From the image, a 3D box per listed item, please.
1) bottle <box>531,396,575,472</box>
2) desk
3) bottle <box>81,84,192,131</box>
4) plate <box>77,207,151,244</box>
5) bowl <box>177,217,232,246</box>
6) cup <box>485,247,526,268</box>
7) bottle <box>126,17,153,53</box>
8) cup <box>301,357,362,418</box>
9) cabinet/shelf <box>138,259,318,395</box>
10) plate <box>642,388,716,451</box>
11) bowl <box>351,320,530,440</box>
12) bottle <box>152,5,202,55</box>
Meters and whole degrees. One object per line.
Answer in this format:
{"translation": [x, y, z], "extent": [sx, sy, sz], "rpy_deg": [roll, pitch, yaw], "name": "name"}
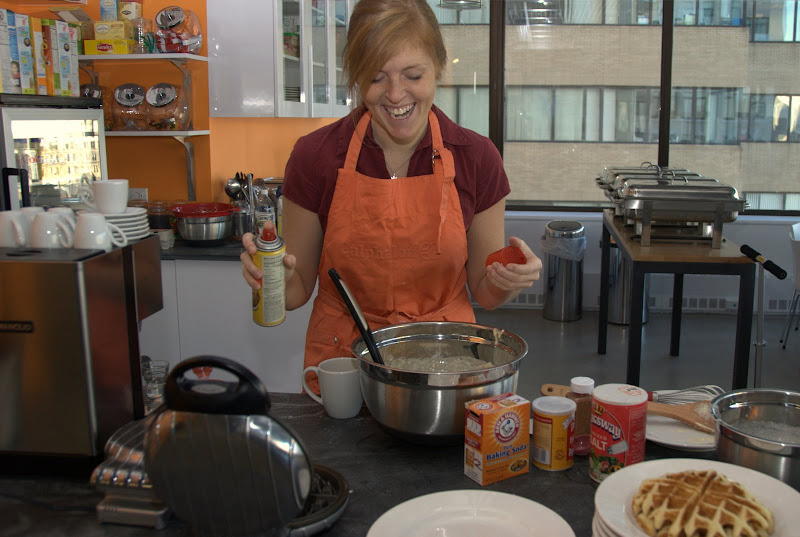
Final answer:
{"translation": [0.349, 0.369, 1.374], "extent": [0.084, 0.150, 0.098], "rpy_deg": [7, 18, 33], "name": "bottle"}
{"translation": [1.760, 0.330, 4.086], "extent": [0.571, 0.857, 1.466], "rpy_deg": [3, 6, 14], "name": "desk"}
{"translation": [-1.542, -0.977, 3.609], "extent": [0.536, 0.207, 0.289], "rpy_deg": [1, 19, -5], "name": "bottle"}
{"translation": [-0.832, -0.133, 1.851], "extent": [0.201, 0.081, 0.196], "rpy_deg": [0, 3, -1], "name": "plate"}
{"translation": [-1.079, -0.221, 3.358], "extent": [0.201, 0.095, 0.186], "rpy_deg": [0, 6, 0], "name": "bowl"}
{"translation": [0.277, -0.030, 1.599], "extent": [0.097, 0.054, 0.049], "rpy_deg": [10, 19, 39], "name": "cup"}
{"translation": [-1.458, -1.309, 3.431], "extent": [0.147, 0.191, 0.111], "rpy_deg": [-6, 15, -13], "name": "bottle"}
{"translation": [-0.155, 0.307, 1.612], "extent": [0.180, 0.129, 0.117], "rpy_deg": [2, 8, 29], "name": "cup"}
{"translation": [-0.703, 0.211, 2.479], "extent": [0.705, 0.654, 0.330], "rpy_deg": [1, 9, 3], "name": "cabinet/shelf"}
{"translation": [0.659, 0.363, 1.450], "extent": [0.156, 0.026, 0.157], "rpy_deg": [5, 19, 31], "name": "plate"}
{"translation": [0.090, 0.251, 1.432], "extent": [0.312, 0.138, 0.312], "rpy_deg": [0, 4, 0], "name": "bowl"}
{"translation": [-1.268, -1.361, 3.484], "extent": [0.265, 0.269, 0.265], "rpy_deg": [-7, 15, -14], "name": "bottle"}
